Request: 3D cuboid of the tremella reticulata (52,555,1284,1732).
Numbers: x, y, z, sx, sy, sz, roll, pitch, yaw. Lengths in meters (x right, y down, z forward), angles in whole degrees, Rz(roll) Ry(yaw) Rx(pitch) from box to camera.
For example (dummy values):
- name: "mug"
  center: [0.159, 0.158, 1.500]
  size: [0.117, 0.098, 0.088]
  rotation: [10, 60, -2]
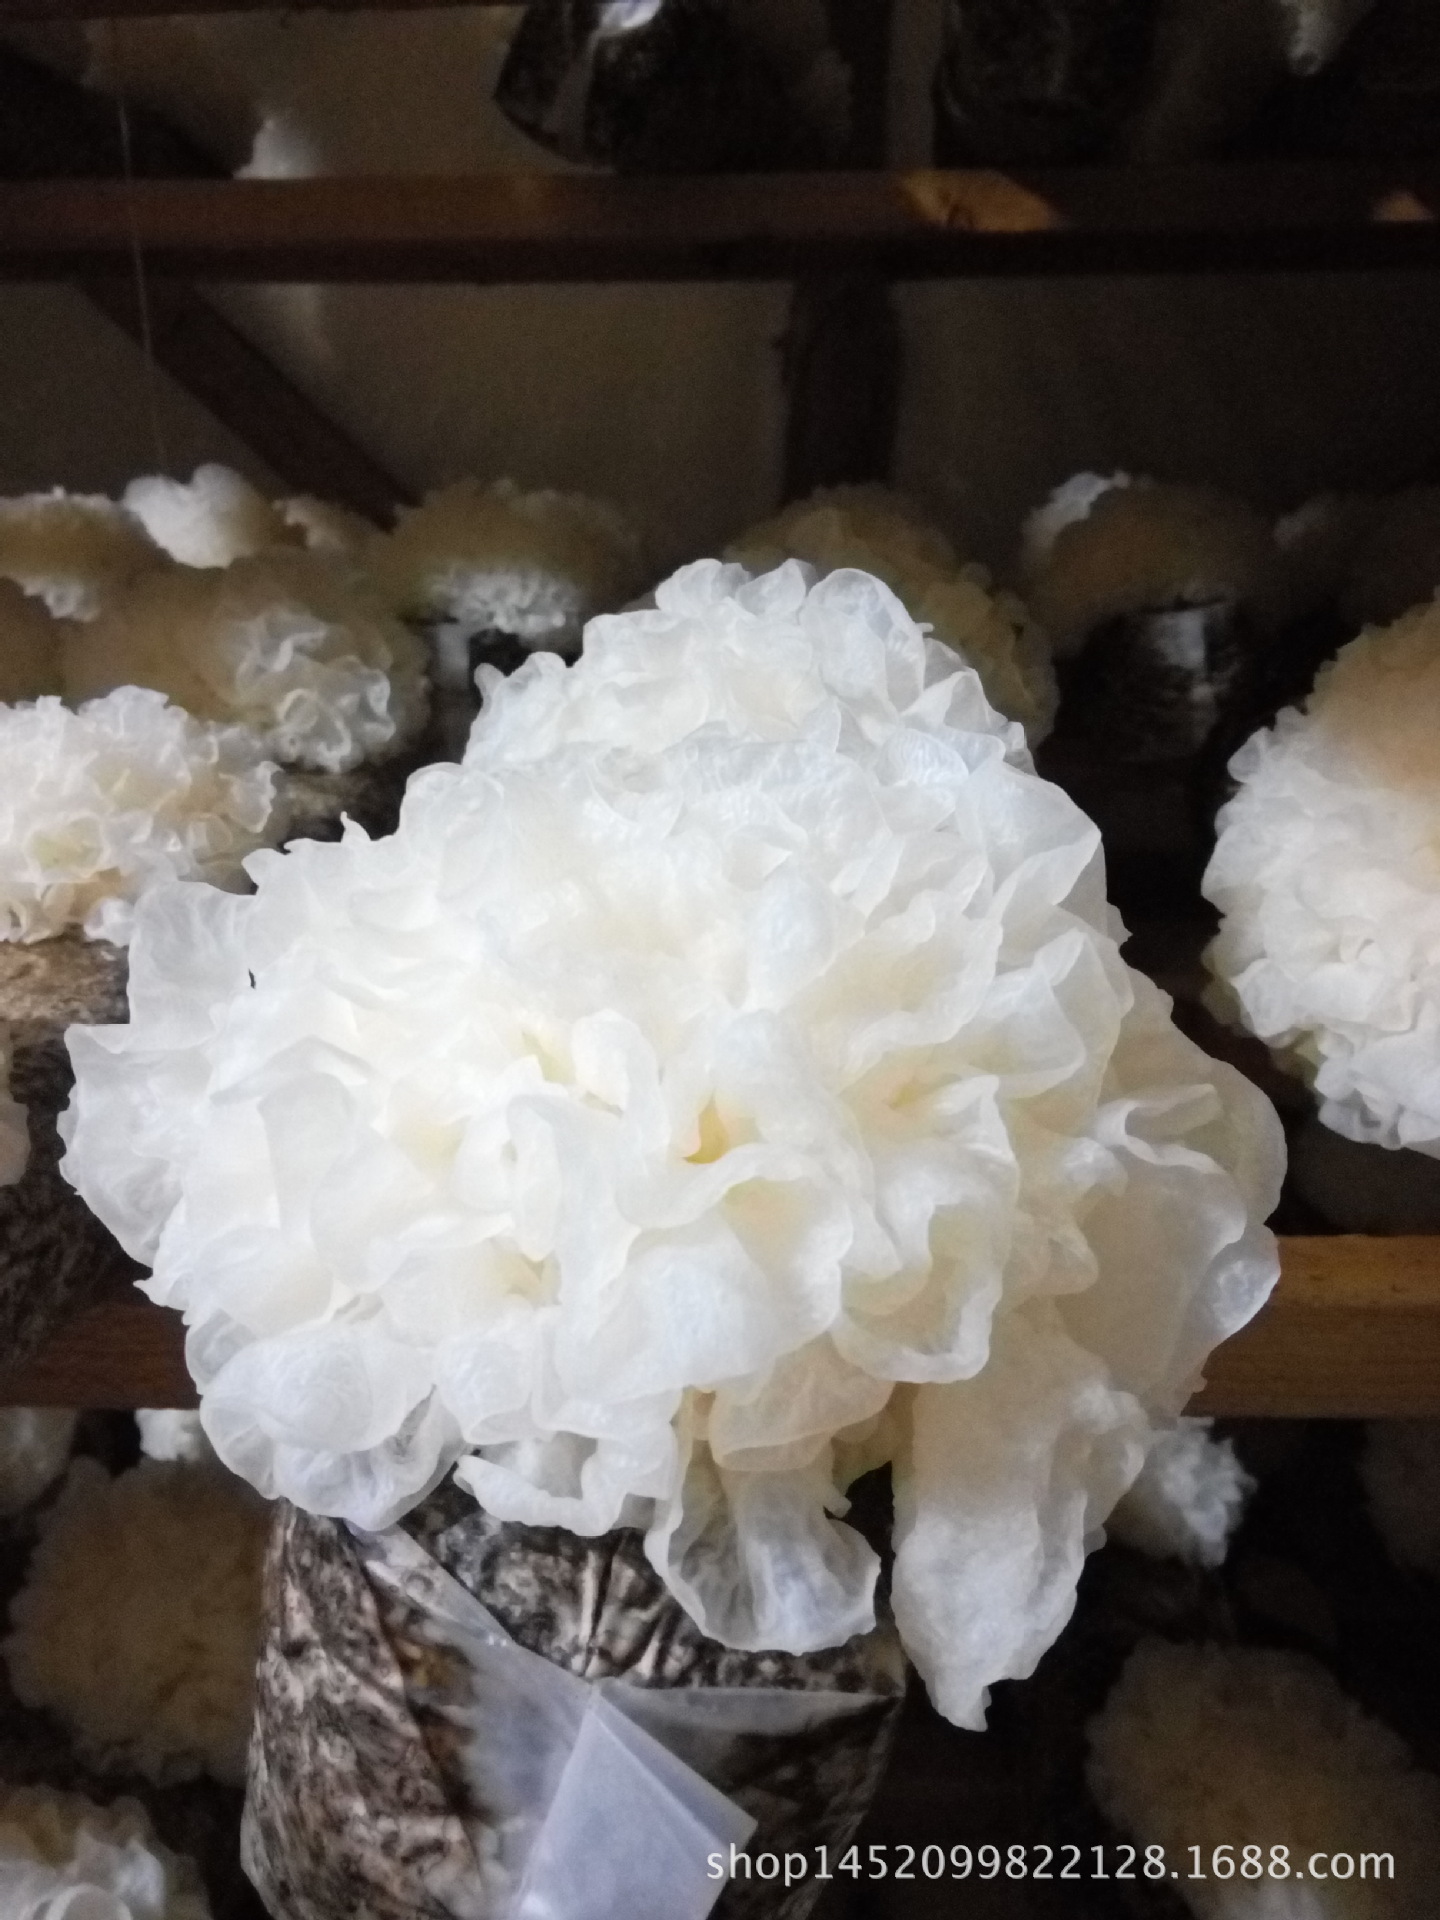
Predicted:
- name: "tremella reticulata"
  center: [-0.003, 0.045, 0.665]
  size: [0.399, 0.222, 0.334]
  rotation: [-9, 51, 1]

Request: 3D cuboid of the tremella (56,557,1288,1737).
- name: "tremella"
  center: [0.027, 0.069, 0.653]
  size: [0.419, 0.227, 0.391]
  rotation: [-11, 23, 22]
